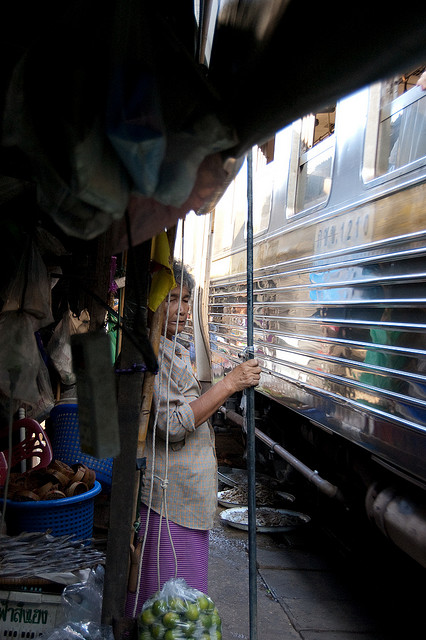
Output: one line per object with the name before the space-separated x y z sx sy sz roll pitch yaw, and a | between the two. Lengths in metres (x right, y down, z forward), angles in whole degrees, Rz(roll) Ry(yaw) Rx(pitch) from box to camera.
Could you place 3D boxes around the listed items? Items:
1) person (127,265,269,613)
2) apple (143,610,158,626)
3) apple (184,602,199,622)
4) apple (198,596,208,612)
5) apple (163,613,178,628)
person | -0.135 0.540 1.946 0.607 1.712 0.670 3 -6 -31
apple | -0.215 1.023 1.430 0.040 0.052 0.042 2 9 6
apple | -0.077 1.016 1.441 0.060 0.055 0.033 4 -7 -37
apple | -0.035 1.029 1.505 0.034 0.045 0.035 1 10 3
apple | -0.143 1.011 1.398 0.038 0.049 0.040 4 1 14
